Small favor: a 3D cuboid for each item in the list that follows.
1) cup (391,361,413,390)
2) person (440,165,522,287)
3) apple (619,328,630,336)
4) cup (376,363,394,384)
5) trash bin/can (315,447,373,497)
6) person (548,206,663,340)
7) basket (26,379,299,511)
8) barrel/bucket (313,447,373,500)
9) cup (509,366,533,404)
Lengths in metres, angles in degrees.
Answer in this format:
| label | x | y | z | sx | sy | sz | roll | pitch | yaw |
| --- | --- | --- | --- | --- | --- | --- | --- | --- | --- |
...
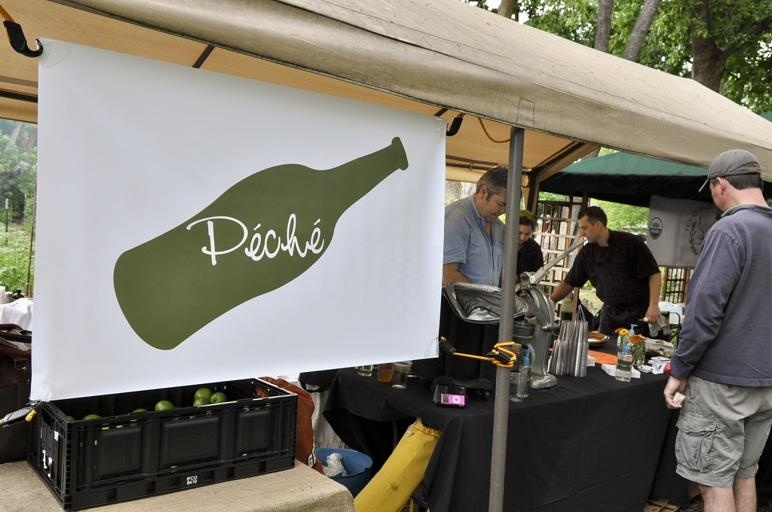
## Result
| label | x | y | z | sx | sy | sz | roll | pitch | yaw |
| --- | --- | --- | --- | --- | --- | --- | --- | --- | --- |
| cup | 0.093 | 0.708 | 3.502 | 0.164 | 0.167 | 0.155 | 4 | -8 | 1 |
| person | 0.651 | -0.208 | 4.203 | 0.530 | 0.837 | 0.423 | 3 | 12 | -10 |
| apple | 1.826 | 0.576 | 4.499 | 0.065 | 0.033 | 0.092 | 0 | 1 | 9 |
| cup | -0.003 | 0.720 | 3.635 | 0.114 | 0.140 | 0.139 | 0 | -15 | 6 |
| trash bin/can | -0.236 | 1.360 | 3.771 | 0.266 | 0.201 | 0.287 | -3 | -9 | 25 |
| person | 2.267 | 0.187 | 5.880 | 0.975 | 1.290 | 0.615 | 10 | 13 | 25 |
| basket | -0.990 | 0.839 | 2.706 | 0.895 | 0.291 | 0.527 | -1 | 1 | -33 |
| barrel/bucket | -0.268 | 1.423 | 3.798 | 0.317 | 0.231 | 0.301 | 3 | 20 | -1 |
| cup | 0.791 | 0.737 | 3.418 | 0.149 | 0.197 | 0.084 | -1 | 13 | -27 |
